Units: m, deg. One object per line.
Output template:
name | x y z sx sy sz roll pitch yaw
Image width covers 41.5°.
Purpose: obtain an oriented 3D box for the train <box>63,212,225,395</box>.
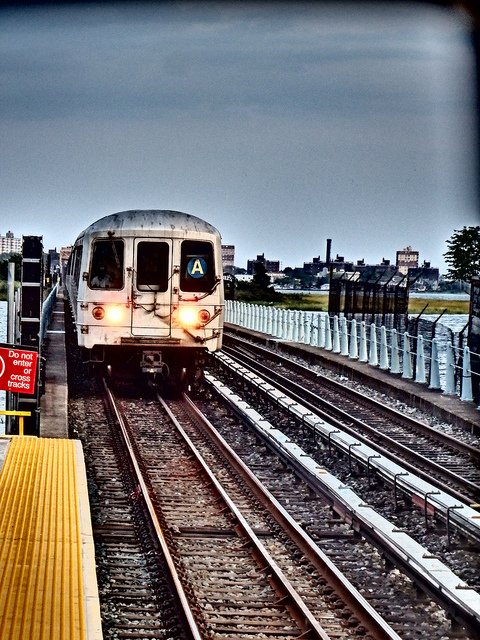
train | -2.040 -0.449 14.425 3.136 4.040 1.416 0 2 -16
